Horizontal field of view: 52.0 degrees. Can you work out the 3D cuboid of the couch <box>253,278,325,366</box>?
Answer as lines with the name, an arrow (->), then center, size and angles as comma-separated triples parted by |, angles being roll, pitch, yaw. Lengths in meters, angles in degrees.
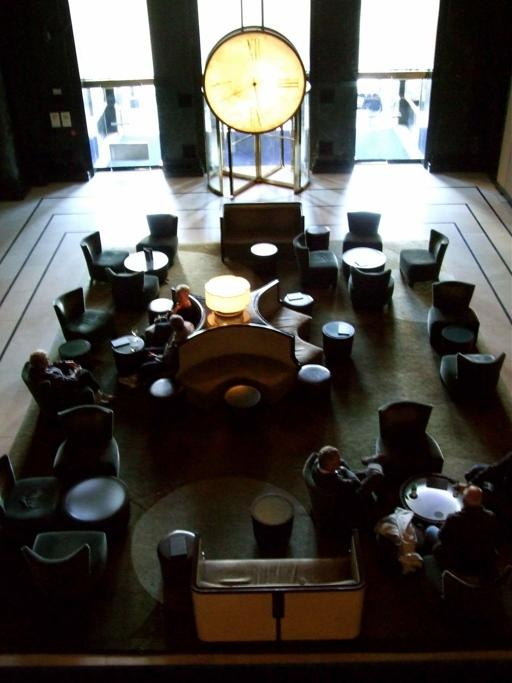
couch -> 0.427, 0.018, 7.324 | 0.942, 0.791, 1.605 | 0, 46, 4

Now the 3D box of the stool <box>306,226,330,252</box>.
stool -> 1.057, -1.842, 9.459 | 0.414, 0.472, 0.428 | -1, 47, 0

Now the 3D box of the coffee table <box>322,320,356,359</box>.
coffee table -> 1.052, -0.061, 7.067 | 0.431, 0.448, 0.468 | -4, 42, -2

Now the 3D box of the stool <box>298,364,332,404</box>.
stool -> 0.682, 0.425, 6.273 | 0.397, 0.356, 0.401 | -9, 39, -7

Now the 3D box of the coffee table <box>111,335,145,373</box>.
coffee table -> -1.645, 0.102, 6.819 | 0.374, 0.428, 0.475 | -13, 48, -22

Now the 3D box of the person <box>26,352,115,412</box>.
person -> -2.124, 0.467, 6.023 | 0.902, 0.616, 0.671 | 0, 42, -10

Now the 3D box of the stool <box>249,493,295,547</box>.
stool -> 0.120, 1.474, 4.493 | 0.382, 0.383, 0.391 | -2, 42, -2

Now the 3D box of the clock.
clock -> -0.017, -1.837, 3.784 | 0.710, 0.675, 0.210 | -2, 32, 1

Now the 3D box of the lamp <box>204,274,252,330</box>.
lamp -> -0.328, -0.404, 6.235 | 0.586, 0.568, 0.600 | -4, 43, -2

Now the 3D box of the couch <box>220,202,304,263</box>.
couch -> 0.119, -2.009, 9.861 | 1.659, 1.081, 0.898 | -2, 17, -4

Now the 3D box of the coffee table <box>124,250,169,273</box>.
coffee table -> -1.863, -1.325, 8.883 | 0.564, 0.131, 0.574 | -1, 34, -5

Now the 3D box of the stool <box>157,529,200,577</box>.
stool -> -0.587, 1.606, 3.961 | 0.374, 0.392, 0.403 | -1, 55, -5

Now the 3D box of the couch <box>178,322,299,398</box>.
couch -> -0.225, 0.169, 6.147 | 1.533, 0.765, 0.827 | -3, 60, 0
